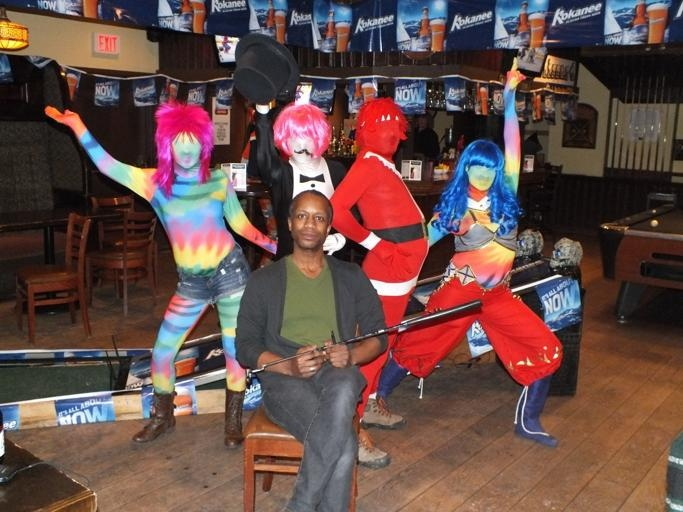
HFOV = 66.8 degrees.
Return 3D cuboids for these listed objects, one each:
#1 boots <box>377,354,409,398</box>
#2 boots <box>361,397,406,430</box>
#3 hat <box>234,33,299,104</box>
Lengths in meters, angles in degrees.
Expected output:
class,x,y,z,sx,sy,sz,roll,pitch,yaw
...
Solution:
class,x,y,z,sx,sy,sz,roll,pitch,yaw
boots,0.354,0.782,3.492,0.155,0.451,0.130,27,45,17
boots,0.247,1.026,3.417,0.329,0.203,0.140,-2,9,-6
hat,-0.393,-0.992,2.744,0.331,0.377,0.287,0,14,-9
